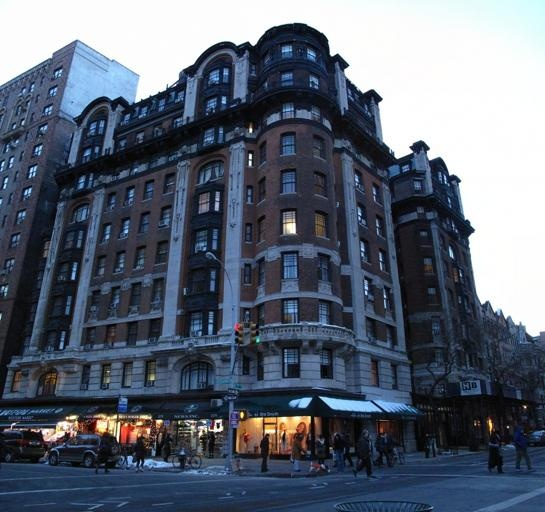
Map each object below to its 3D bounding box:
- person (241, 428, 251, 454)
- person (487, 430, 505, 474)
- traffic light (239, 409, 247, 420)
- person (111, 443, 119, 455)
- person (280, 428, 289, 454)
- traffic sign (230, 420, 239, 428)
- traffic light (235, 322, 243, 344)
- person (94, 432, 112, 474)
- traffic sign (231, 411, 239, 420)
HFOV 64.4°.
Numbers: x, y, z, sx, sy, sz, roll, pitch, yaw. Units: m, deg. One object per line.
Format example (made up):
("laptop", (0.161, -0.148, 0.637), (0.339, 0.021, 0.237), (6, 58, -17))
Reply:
("person", (-1.878, 13.010, 30.265), (0.819, 1.542, 0.372), (-23, -33, 39))
("person", (9.518, 8.380, 18.545), (0.682, 1.597, 1.493), (-11, -26, 20))
("traffic light", (-1.706, 8.933, 23.977), (0.480, 0.414, 0.454), (-2, -7, 14))
("person", (-8.900, 10.993, 24.505), (0.285, 0.573, 0.790), (2, -24, -7))
("person", (0.852, 12.387, 28.814), (0.627, 1.537, 0.382), (0, -25, -3))
("traffic sign", (-2.100, 9.405, 24.183), (0.235, 0.387, 0.563), (-16, -27, 29))
("traffic light", (-1.700, 3.934, 21.873), (0.416, 1.083, 0.856), (2, -24, -6))
("person", (-9.304, 10.869, 23.943), (0.750, 2.004, 1.570), (11, -19, -18))
("traffic sign", (-2.134, 9.016, 24.394), (0.254, 0.472, 0.531), (-11, -15, 39))
